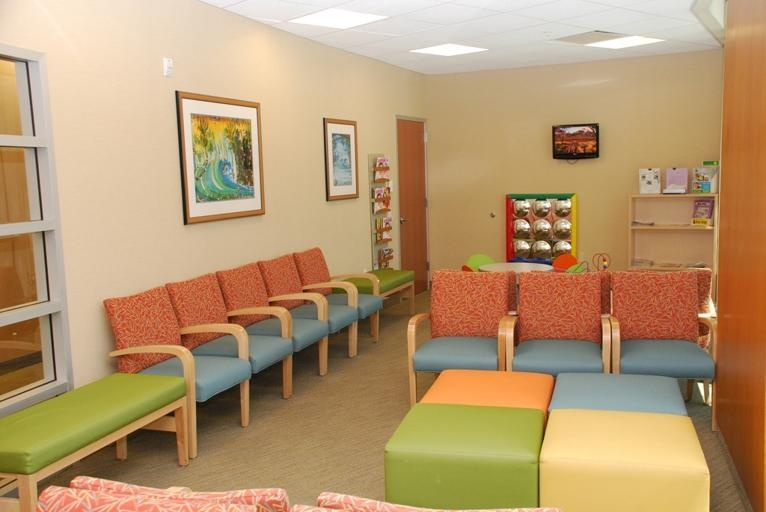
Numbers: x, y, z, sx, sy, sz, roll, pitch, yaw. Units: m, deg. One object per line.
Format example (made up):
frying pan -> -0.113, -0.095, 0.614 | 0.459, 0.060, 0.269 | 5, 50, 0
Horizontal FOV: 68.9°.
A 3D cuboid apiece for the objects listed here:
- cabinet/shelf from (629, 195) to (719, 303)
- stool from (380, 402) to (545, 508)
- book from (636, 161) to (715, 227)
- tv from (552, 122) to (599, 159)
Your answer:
cabinet/shelf -> 4.284, -0.271, 8.453 | 0.983, 0.288, 1.458 | 8, 46, 13
stool -> 0.535, 1.280, 3.543 | 0.911, 0.392, 0.620 | 2, 13, 16
book -> 4.351, -0.909, 8.170 | 1.021, 0.895, 0.346 | 2, 5, 36
tv -> 3.042, -1.795, 8.690 | 0.626, 0.499, 0.081 | 2, 9, 20
